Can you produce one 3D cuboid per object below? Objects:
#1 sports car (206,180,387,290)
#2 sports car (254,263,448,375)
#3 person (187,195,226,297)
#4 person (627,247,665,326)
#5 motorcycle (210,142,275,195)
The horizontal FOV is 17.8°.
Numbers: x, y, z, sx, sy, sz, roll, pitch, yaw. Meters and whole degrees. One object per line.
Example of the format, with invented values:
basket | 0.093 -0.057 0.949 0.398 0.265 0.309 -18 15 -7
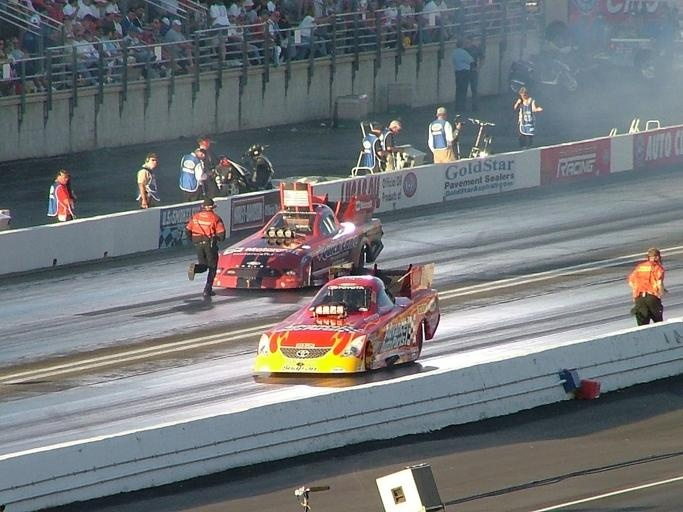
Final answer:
sports car | -0.974 -0.529 54.559 2.211 1.956 4.074 3 11 33
sports car | 0.181 1.434 49.488 2.887 1.761 4.911 4 11 21
person | -3.274 -0.197 52.719 0.944 2.409 0.899 -6 14 -4
person | 6.998 0.870 49.625 0.868 2.080 0.752 -2 18 11
motorcycle | -2.655 -2.245 59.389 0.947 1.143 1.814 4 21 41
